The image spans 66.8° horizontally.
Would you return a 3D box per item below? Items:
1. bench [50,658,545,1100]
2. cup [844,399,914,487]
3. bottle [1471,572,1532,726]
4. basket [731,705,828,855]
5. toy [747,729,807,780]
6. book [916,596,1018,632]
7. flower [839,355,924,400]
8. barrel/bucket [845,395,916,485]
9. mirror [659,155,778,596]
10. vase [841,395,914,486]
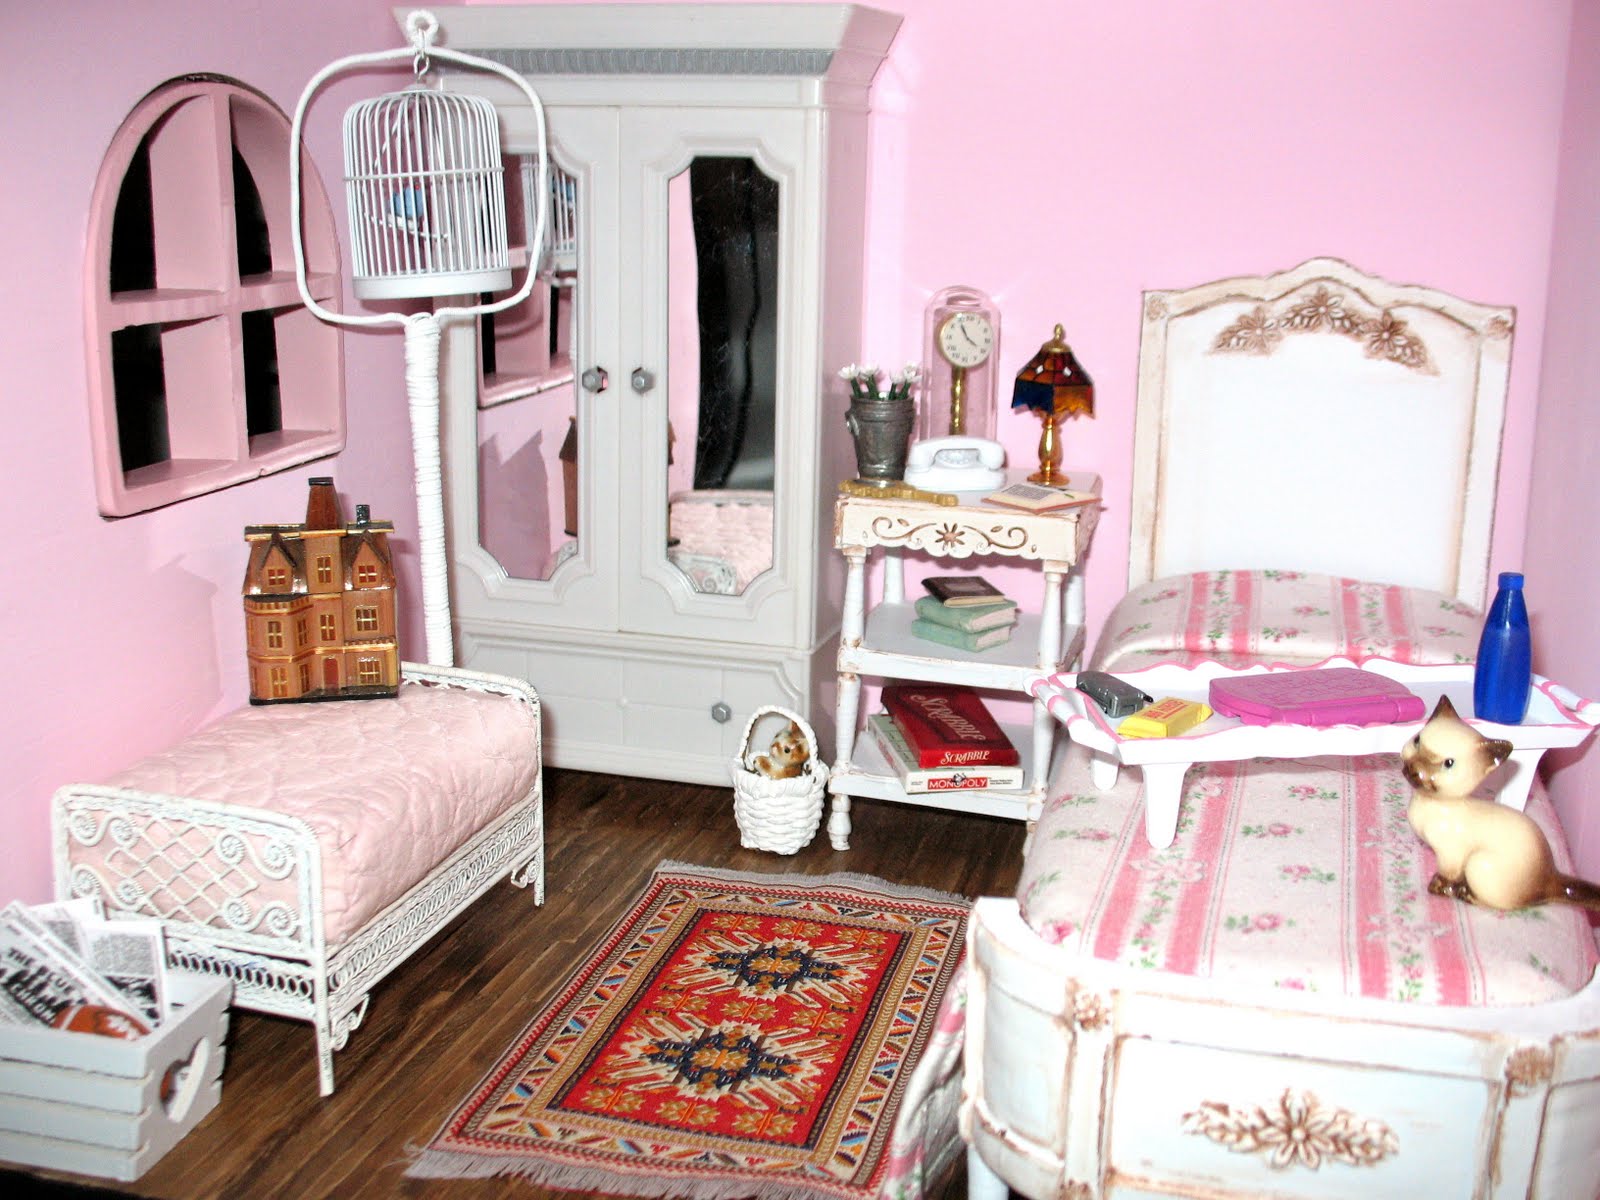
[{"bbox_3d":[-1.173,0.588,3.130,0.760,0.591,1.049,7,20,15],"label":"bench"},{"bbox_3d":[0.250,-0.520,3.949,0.257,0.268,0.259,0,10,0],"label":"cup"},{"bbox_3d":[1.530,0.095,2.622,0.110,0.300,0.219,8,17,31],"label":"bottle"},{"bbox_3d":[-0.076,0.574,3.829,0.359,0.488,0.353,5,16,15],"label":"basket"},{"bbox_3d":[-0.059,0.488,3.827,0.109,0.094,0.160,8,8,29],"label":"toy"},{"bbox_3d":[0.508,0.038,3.876,0.163,0.036,0.160,-12,16,-42],"label":"book"},{"bbox_3d":[0.251,-0.685,3.818,0.177,0.083,0.169,-3,10,-33],"label":"flower"},{"bbox_3d":[0.244,-0.517,3.811,0.263,0.266,0.257,0,9,0],"label":"barrel/bucket"},{"bbox_3d":[-0.251,-0.703,3.884,0.371,1.366,0.110,3,15,17],"label":"mirror"},{"bbox_3d":[0.251,-0.519,3.951,0.269,0.275,0.258,5,13,19],"label":"vase"}]
